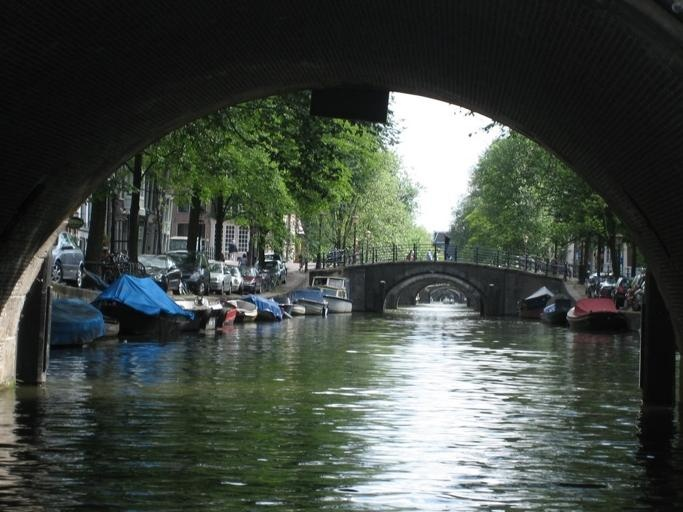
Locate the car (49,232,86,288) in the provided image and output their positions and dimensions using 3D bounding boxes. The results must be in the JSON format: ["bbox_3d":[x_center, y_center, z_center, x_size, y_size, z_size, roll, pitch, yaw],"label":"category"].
[{"bbox_3d":[-10.247,0.131,26.611,0.670,1.997,2.796,1,-2,-8],"label":"car"}]
